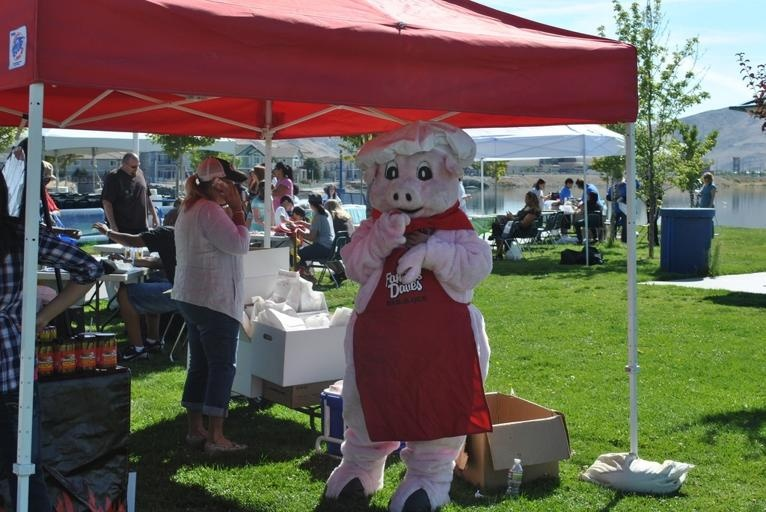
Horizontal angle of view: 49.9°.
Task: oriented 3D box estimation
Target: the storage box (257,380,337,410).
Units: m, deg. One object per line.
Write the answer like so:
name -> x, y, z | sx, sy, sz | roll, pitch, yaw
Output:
storage box -> -0.730, 1.186, 7.005 | 0.356, 0.096, 0.339 | 4, 5, 44

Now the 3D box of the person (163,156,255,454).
person -> -1.394, 0.398, 6.810 | 0.645, 2.396, 0.544 | 7, 12, 39

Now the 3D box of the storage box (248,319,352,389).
storage box -> -0.679, 0.842, 7.049 | 0.576, 0.392, 0.601 | 2, -1, -38

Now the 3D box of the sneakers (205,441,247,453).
sneakers -> -1.302, 1.566, 6.801 | 0.303, 0.131, 0.117 | 0, -1, -6

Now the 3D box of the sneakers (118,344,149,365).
sneakers -> -2.721, 1.085, 9.004 | 0.368, 0.169, 0.134 | 4, -4, -39

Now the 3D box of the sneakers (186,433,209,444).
sneakers -> -1.567, 1.547, 6.904 | 0.145, 0.067, 0.081 | -3, 26, 0

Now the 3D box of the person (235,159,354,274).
person -> -1.334, -0.448, 13.124 | 1.432, 2.287, 1.111 | 5, -23, 4

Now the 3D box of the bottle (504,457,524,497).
bottle -> 0.980, 1.626, 6.094 | 0.120, 0.256, 0.198 | 1, 10, 11

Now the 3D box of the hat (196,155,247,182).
hat -> -1.339, -0.733, 6.826 | 0.361, 0.200, 0.235 | -7, 16, -16

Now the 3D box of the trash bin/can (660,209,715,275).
trash bin/can -> 5.309, -0.284, 14.467 | 0.856, 1.177, 0.536 | 3, 10, 19

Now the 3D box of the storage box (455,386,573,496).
storage box -> 1.031, 1.423, 6.262 | 0.702, 0.442, 0.697 | -2, 5, -31

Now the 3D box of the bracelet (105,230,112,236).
bracelet -> -2.646, -0.232, 7.958 | 0.058, 0.017, 0.056 | -25, -13, 27

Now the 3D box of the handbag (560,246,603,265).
handbag -> 3.974, 0.029, 16.437 | 0.592, 0.208, 0.447 | -2, 4, -39
